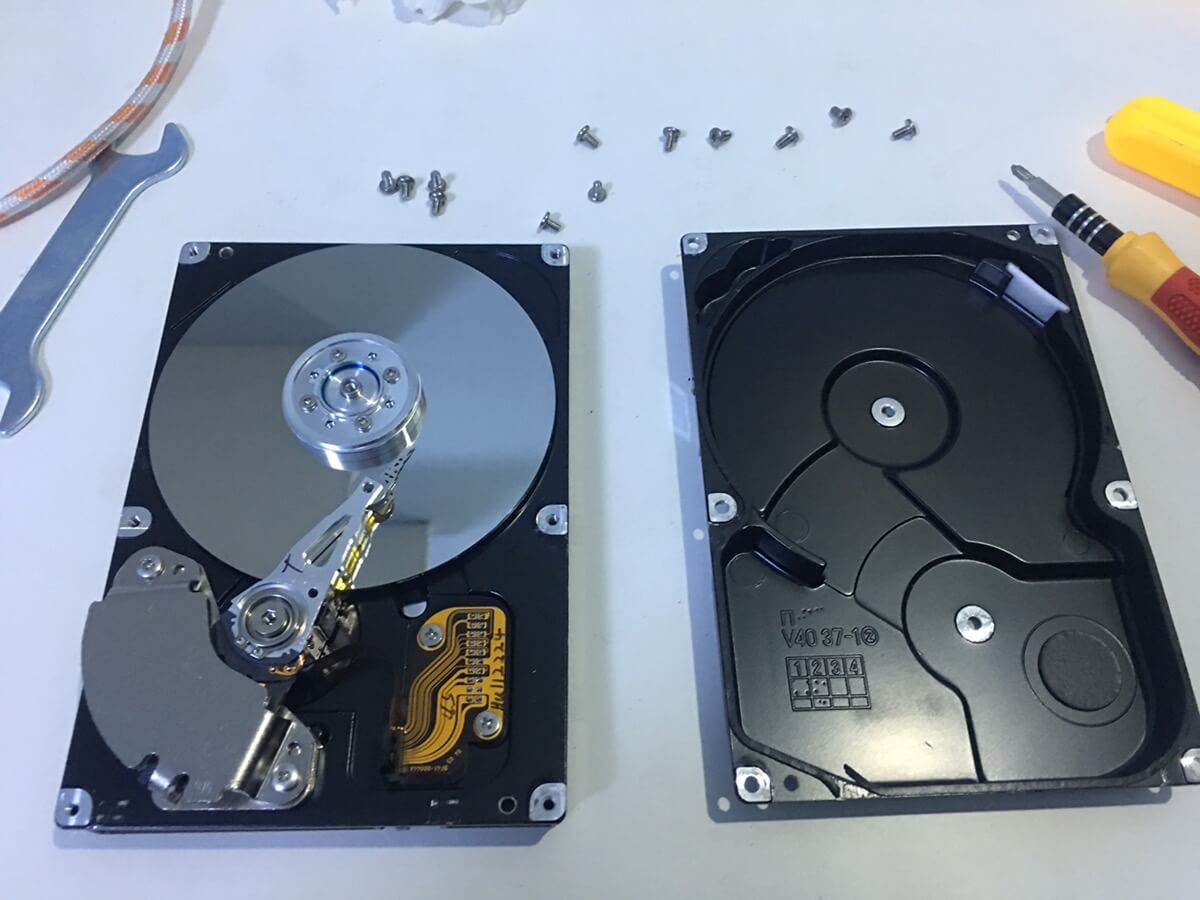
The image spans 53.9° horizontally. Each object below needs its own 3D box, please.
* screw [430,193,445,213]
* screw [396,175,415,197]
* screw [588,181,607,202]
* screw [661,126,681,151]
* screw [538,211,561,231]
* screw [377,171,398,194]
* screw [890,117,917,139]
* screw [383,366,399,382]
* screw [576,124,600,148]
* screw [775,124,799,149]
[{"bbox_3d":[-0.502,-0.746,3.598,0.040,0.065,0.014,4,-12,1],"label":"screw"},{"bbox_3d":[-0.600,-0.799,3.616,0.059,0.070,0.061,-5,-35,-14],"label":"screw"},{"bbox_3d":[-0.008,-0.785,3.626,0.046,0.069,0.019,-2,-15,2],"label":"screw"},{"bbox_3d":[0.224,-0.973,3.705,0.064,0.071,0.041,-9,-38,6],"label":"screw"},{"bbox_3d":[-0.154,-0.683,3.574,0.053,0.052,0.058,21,-69,-14],"label":"screw"},{"bbox_3d":[-0.658,-0.820,3.633,0.055,0.067,0.038,6,-39,-12],"label":"screw"},{"bbox_3d":[0.962,-1.010,3.722,0.076,0.055,0.019,-19,-2,-11],"label":"screw"},{"bbox_3d":[-0.584,-0.207,3.283,0.036,0.042,0.016,-9,-10,2],"label":"screw"},{"bbox_3d":[-0.042,-0.981,3.710,0.055,0.042,0.043,6,-56,-50],"label":"screw"},{"bbox_3d":[0.587,-0.974,3.706,0.076,0.056,0.028,-37,-13,-1],"label":"screw"}]
